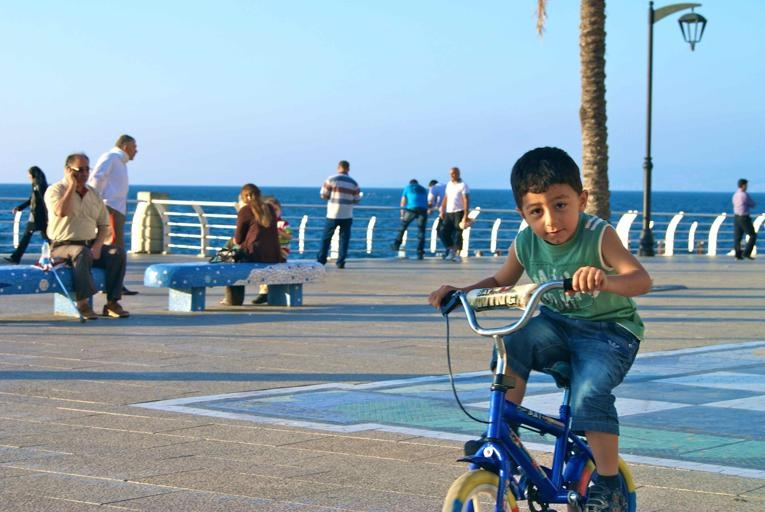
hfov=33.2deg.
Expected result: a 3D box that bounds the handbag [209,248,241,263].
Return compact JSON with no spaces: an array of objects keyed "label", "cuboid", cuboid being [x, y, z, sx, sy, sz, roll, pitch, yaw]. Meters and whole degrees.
[{"label":"handbag","cuboid":[-1.957,-0.021,16.241,0.203,0.132,0.338,-6,-6,44]}]

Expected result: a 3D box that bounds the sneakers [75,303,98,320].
[{"label":"sneakers","cuboid":[-3.410,0.628,14.773,0.140,0.100,0.294,0,-2,-37]}]

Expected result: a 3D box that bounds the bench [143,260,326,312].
[{"label":"bench","cuboid":[-1.905,0.356,16.208,2.352,0.692,0.666,-8,13,-44]}]

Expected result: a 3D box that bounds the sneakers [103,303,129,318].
[{"label":"sneakers","cuboid":[-3.136,0.624,15.106,0.362,0.127,0.140,0,2,33]}]

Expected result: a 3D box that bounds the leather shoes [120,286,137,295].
[{"label":"leather shoes","cuboid":[-3.487,0.457,17.589,0.185,0.105,0.088,4,-23,2]}]
